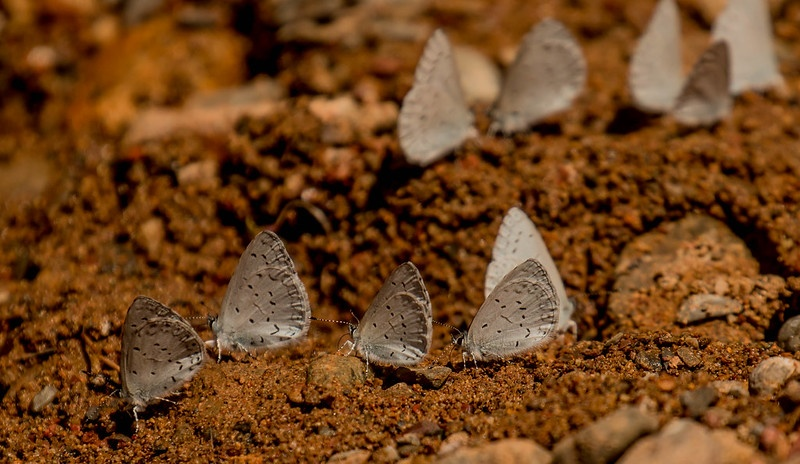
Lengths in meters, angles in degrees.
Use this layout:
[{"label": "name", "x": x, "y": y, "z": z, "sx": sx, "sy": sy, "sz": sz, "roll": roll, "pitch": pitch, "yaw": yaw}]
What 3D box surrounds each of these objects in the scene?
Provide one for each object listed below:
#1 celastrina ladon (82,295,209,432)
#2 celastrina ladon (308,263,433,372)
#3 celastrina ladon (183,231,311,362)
[{"label": "celastrina ladon", "x": -2.351, "y": 1.211, "z": 8.769, "sx": 1.087, "sy": 1.234, "sz": 0.893, "roll": -13, "pitch": 55, "yaw": -19}, {"label": "celastrina ladon", "x": -0.255, "y": 0.793, "z": 8.967, "sx": 1.131, "sy": 1.067, "sz": 1.061, "roll": 0, "pitch": 93, "yaw": -6}, {"label": "celastrina ladon", "x": -1.504, "y": 0.582, "z": 9.321, "sx": 1.134, "sy": 1.023, "sz": 1.292, "roll": 0, "pitch": 96, "yaw": 0}]
